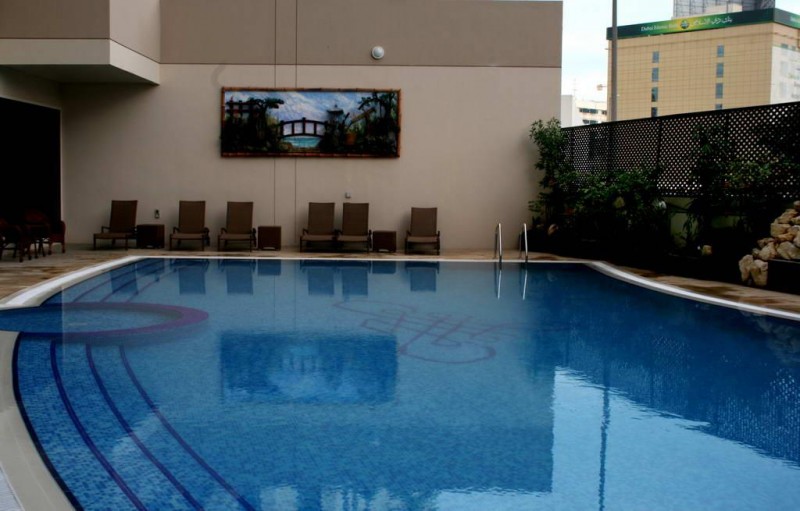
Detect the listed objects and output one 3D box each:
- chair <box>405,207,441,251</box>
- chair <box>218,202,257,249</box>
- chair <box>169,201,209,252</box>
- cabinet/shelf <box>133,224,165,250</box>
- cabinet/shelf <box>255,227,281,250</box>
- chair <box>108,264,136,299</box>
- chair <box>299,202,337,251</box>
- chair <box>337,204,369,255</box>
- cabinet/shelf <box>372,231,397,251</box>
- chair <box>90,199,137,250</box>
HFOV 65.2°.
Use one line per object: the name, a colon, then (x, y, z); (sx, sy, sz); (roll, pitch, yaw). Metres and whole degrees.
chair: (0.564, -0.486, 14.970); (0.841, 1.134, 1.247); (2, -5, -4)
chair: (-3.869, -0.685, 15.003); (0.755, 1.109, 1.210); (3, -7, -13)
chair: (-4.978, -0.716, 14.924); (0.731, 1.066, 1.161); (2, -4, -16)
cabinet/shelf: (-5.792, -0.419, 14.455); (0.548, 0.560, 0.572); (3, 8, 1)
cabinet/shelf: (-3.013, -0.375, 14.280); (0.490, 0.501, 0.513); (0, 4, -7)
chair: (-4.689, 0.481, 10.582); (0.391, 0.231, 2.114); (-6, 17, -23)
chair: (-1.884, -0.641, 15.114); (0.883, 1.120, 1.511); (5, -1, -6)
chair: (-1.057, -0.669, 14.984); (0.829, 0.885, 1.405); (2, -5, 0)
cabinet/shelf: (-0.343, -0.302, 14.193); (0.415, 0.420, 0.430); (3, 8, 21)
chair: (-6.438, -0.670, 14.258); (0.810, 1.162, 0.932); (0, 1, 10)
